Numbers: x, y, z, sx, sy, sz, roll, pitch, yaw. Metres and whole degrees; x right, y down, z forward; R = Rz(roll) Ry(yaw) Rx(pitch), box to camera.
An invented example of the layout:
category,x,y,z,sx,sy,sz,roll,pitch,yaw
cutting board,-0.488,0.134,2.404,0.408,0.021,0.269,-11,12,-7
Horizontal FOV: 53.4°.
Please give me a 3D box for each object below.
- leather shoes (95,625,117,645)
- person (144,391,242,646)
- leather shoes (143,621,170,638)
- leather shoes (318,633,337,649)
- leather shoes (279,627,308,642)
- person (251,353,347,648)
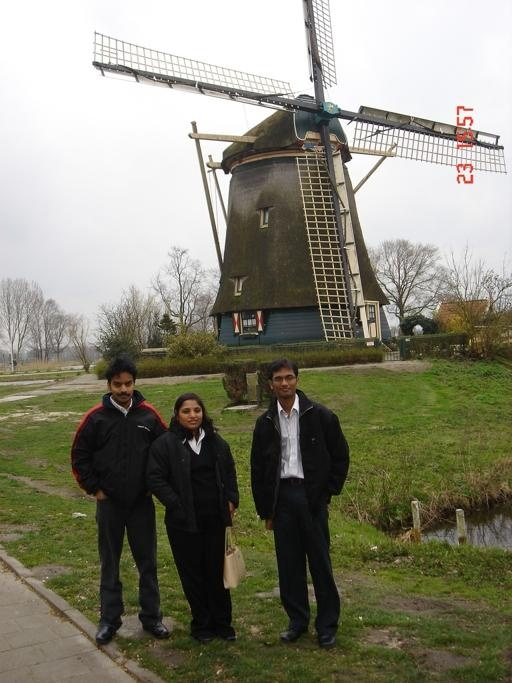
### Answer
category,x,y,z,sx,sy,sz,roll,pitch,yaw
leather shoes,-0.962,1.888,3.254,0.053,0.070,0.159,4,3,-1
person,-0.436,1.255,3.522,0.614,1.712,0.637,1,8,-3
leather shoes,-0.669,1.927,3.438,0.077,0.094,0.206,7,-13,-43
leather shoes,0.473,2.016,3.406,0.115,0.076,0.120,2,9,4
leather shoes,0.261,2.027,3.503,0.067,0.084,0.205,-8,-31,37
person,0.275,1.163,3.631,0.708,1.978,0.699,3,8,10
